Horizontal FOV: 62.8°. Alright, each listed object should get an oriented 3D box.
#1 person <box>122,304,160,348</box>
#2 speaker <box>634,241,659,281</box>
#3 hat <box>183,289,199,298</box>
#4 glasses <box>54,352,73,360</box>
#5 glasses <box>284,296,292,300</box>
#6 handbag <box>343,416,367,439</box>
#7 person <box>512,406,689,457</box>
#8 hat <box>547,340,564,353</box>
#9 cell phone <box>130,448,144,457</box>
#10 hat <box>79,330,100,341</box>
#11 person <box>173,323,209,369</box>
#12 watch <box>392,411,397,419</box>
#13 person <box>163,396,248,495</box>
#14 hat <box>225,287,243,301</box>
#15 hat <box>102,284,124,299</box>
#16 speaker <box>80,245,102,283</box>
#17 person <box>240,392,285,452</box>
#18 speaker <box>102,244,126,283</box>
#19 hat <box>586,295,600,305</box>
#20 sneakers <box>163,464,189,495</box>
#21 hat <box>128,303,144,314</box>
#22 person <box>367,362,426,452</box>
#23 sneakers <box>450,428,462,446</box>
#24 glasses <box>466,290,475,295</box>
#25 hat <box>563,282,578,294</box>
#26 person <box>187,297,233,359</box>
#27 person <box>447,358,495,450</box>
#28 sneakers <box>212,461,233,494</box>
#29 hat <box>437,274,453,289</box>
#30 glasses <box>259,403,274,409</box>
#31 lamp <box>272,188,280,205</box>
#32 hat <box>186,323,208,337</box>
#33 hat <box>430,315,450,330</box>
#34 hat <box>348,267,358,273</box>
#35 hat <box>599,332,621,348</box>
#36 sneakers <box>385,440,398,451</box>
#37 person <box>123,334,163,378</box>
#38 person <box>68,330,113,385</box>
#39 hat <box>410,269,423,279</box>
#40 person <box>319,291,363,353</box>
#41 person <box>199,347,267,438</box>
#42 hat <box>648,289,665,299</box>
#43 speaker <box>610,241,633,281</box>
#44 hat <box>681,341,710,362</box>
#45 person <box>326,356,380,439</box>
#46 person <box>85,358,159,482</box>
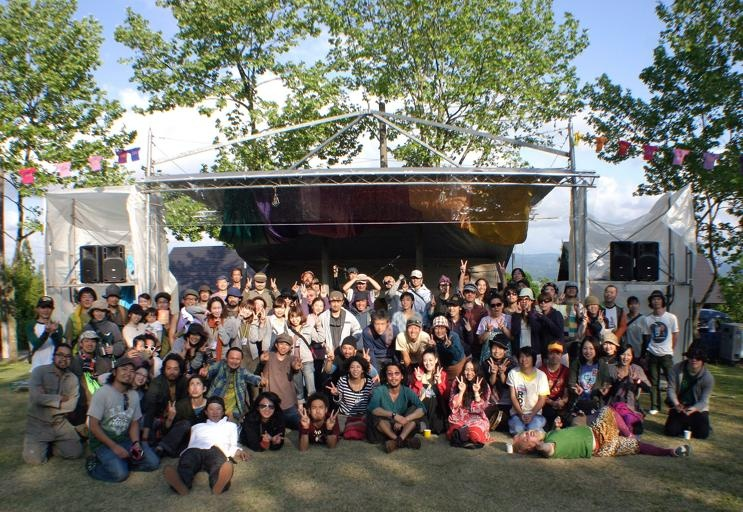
[{"bbox_3d":[-4.076,1.287,10.839,0.676,0.882,0.634,-8,10,-23],"label":"person"},{"bbox_3d":[5.484,0.104,12.221,0.449,0.806,0.129,0,0,8],"label":"speaker"},{"bbox_3d":[-3.507,0.716,11.840,0.260,0.129,0.351,2,-4,-10],"label":"hat"},{"bbox_3d":[-4.590,1.495,9.078,0.202,0.124,0.075,0,0,-29],"label":"glasses"},{"bbox_3d":[-1.551,0.766,11.173,0.089,0.091,0.029,2,2,-31],"label":"glasses"},{"bbox_3d":[-0.276,2.748,9.780,0.332,0.143,0.334,0,13,-2],"label":"handbag"},{"bbox_3d":[3.255,2.751,9.268,1.671,0.627,1.067,-11,-7,-9],"label":"person"},{"bbox_3d":[2.955,1.476,10.100,0.238,0.187,0.390,6,0,14],"label":"hat"},{"bbox_3d":[-3.380,2.842,8.780,0.110,0.055,0.144,5,-5,-3],"label":"cell phone"},{"bbox_3d":[-4.456,1.242,9.640,0.250,0.141,0.184,0,0,-37],"label":"hat"},{"bbox_3d":[-2.984,1.603,10.214,0.539,0.801,0.544,1,-14,14],"label":"person"},{"bbox_3d":[0.341,2.504,9.570,0.062,0.060,0.042,8,15,7],"label":"watch"},{"bbox_3d":[-2.375,2.731,8.855,1.118,0.772,1.922,-1,8,-8],"label":"person"},{"bbox_3d":[-2.466,0.667,10.991,0.211,0.145,0.284,7,-5,-4],"label":"hat"},{"bbox_3d":[-4.853,0.667,11.427,0.245,0.214,0.328,-1,2,-18],"label":"hat"},{"bbox_3d":[-5.825,0.170,12.646,0.486,0.804,0.175,0,0,10],"label":"speaker"},{"bbox_3d":[-1.628,2.539,9.430,0.603,0.910,0.776,1,4,-37],"label":"person"},{"bbox_3d":[-5.346,0.135,12.869,0.606,0.843,0.587,-2,1,-35],"label":"speaker"},{"bbox_3d":[3.979,0.801,11.052,0.200,0.122,0.248,0,-1,20],"label":"hat"},{"bbox_3d":[-2.671,3.085,8.364,0.133,0.309,0.219,-32,0,-5],"label":"sneakers"},{"bbox_3d":[-4.188,0.967,10.833,0.165,0.206,0.217,2,-41,-18],"label":"hat"},{"bbox_3d":[0.368,2.373,9.739,0.896,1.256,1.037,-4,2,-31],"label":"person"},{"bbox_3d":[1.325,2.867,9.591,0.174,0.219,0.087,-6,-16,24],"label":"sneakers"},{"bbox_3d":[1.813,0.642,11.281,0.172,0.083,0.094,0,0,-3],"label":"glasses"},{"bbox_3d":[3.726,0.616,11.446,0.222,0.233,0.252,3,-8,16],"label":"hat"},{"bbox_3d":[-2.795,1.462,10.778,0.809,1.549,0.520,1,18,-6],"label":"person"},{"bbox_3d":[1.545,2.315,9.704,0.629,1.321,0.507,0,0,6],"label":"person"},{"bbox_3d":[-2.010,3.038,8.420,0.176,0.479,0.203,22,-7,-8],"label":"sneakers"},{"bbox_3d":[1.359,0.478,11.532,0.228,0.200,0.324,-1,-14,7],"label":"hat"},{"bbox_3d":[-1.595,2.274,9.219,0.196,0.076,0.048,0,0,-3],"label":"glasses"},{"bbox_3d":[-2.213,-1.362,14.139,0.164,0.397,0.265,0,0,-19],"label":"lamp"},{"bbox_3d":[-2.937,1.217,10.155,0.318,0.216,0.215,0,0,-7],"label":"hat"},{"bbox_3d":[1.187,1.144,10.546,0.267,0.204,0.404,0,-5,10],"label":"hat"},{"bbox_3d":[-0.466,0.321,14.440,0.193,0.141,0.315,8,2,5],"label":"hat"},{"bbox_3d":[3.926,1.361,10.059,0.260,0.159,0.327,2,-16,18],"label":"hat"},{"bbox_3d":[0.283,2.900,9.306,0.125,0.067,0.168,3,5,27],"label":"sneakers"},{"bbox_3d":[-3.694,1.609,10.032,0.669,0.378,0.879,-6,24,-25],"label":"person"},{"bbox_3d":[-4.456,1.643,9.726,0.585,0.959,0.345,-14,-12,-42],"label":"person"},{"bbox_3d":[0.877,0.326,11.934,0.247,0.183,0.405,2,-14,6],"label":"hat"},{"bbox_3d":[-0.550,1.210,10.864,0.946,1.247,0.696,-1,-11,-7],"label":"person"},{"bbox_3d":[-2.233,2.049,9.638,0.914,1.196,0.794,9,1,17],"label":"person"},{"bbox_3d":[5.203,0.695,11.196,0.263,0.106,0.264,4,0,12],"label":"hat"},{"bbox_3d":[5.044,0.090,12.340,0.437,0.784,0.128,0,0,20],"label":"speaker"},{"bbox_3d":[5.309,1.559,10.072,0.319,0.342,0.409,0,-16,31],"label":"hat"},{"bbox_3d":[-0.266,2.223,9.931,1.040,1.230,0.939,-2,-3,1],"label":"person"},{"bbox_3d":[-3.618,2.345,8.807,0.899,1.706,0.482,0,0,-26],"label":"person"}]
